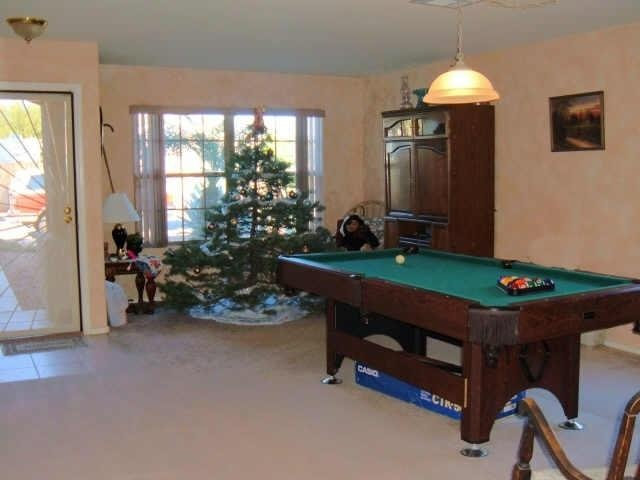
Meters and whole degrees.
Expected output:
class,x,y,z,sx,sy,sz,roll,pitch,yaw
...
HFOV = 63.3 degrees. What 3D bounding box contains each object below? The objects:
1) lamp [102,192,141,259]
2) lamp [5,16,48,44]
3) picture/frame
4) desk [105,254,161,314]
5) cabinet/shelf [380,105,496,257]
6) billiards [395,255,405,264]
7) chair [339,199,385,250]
class,x,y,z,sx,sy,sz,roll,pitch,yaw
lamp,-2.440,-0.216,6.393,0.386,0.738,0.687,-4,10,-20
lamp,-2.424,-1.777,4.333,0.238,0.153,0.223,1,9,6
picture/frame,2.652,-1.231,5.317,0.072,0.676,0.683,-13,13,-35
desk,-2.246,0.536,6.397,0.666,0.691,0.734,0,-2,-29
cabinet/shelf,1.422,-0.714,6.224,1.337,1.775,0.722,3,11,18
billiards,0.673,0.151,4.315,0.071,0.069,0.068,-5,5,-12
chair,0.675,-0.217,7.302,0.687,0.966,0.741,-2,-5,11
